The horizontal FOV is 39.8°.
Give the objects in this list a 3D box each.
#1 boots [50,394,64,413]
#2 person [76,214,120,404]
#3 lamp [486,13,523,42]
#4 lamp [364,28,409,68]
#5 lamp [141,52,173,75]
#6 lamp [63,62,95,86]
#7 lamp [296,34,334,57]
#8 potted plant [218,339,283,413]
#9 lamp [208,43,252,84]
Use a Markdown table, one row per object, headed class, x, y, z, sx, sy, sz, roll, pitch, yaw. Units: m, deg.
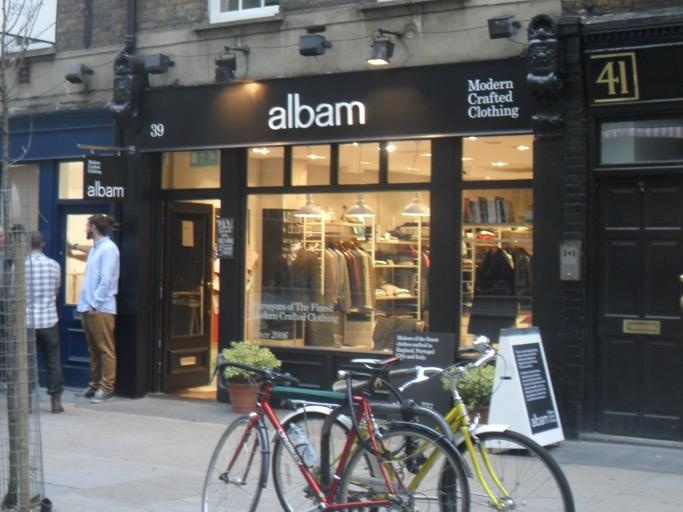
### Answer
| class | x | y | z | sx | sy | sz | roll | pitch | yaw |
| --- | --- | --- | --- | --- | --- | --- | --- | --- | --- |
| boots | -3.415 | 1.785 | 11.336 | 0.145 | 0.211 | 0.159 | 4 | 10 | -16 |
| person | -3.097 | 0.680 | 12.104 | 0.424 | 2.344 | 0.639 | 2 | 11 | -29 |
| lamp | 1.763 | -2.487 | 10.260 | 0.313 | 0.202 | 0.227 | 5 | 17 | 24 |
| lamp | 0.508 | -2.402 | 10.892 | 0.389 | 0.418 | 0.360 | 8 | 9 | 8 |
| lamp | -2.365 | -2.471 | 12.218 | 0.299 | 0.201 | 0.288 | 0 | -5 | 23 |
| lamp | -3.545 | -2.455 | 12.894 | 0.452 | 0.243 | 0.301 | 5 | -10 | 12 |
| lamp | -0.318 | -2.506 | 11.203 | 0.434 | 0.235 | 0.289 | 3 | 1 | 18 |
| potted plant | -1.149 | 1.546 | 11.385 | 0.543 | 0.699 | 0.688 | 3 | -10 | 15 |
| lamp | -1.429 | -2.383 | 11.786 | 0.346 | 0.540 | 0.558 | 1 | 0 | 34 |
